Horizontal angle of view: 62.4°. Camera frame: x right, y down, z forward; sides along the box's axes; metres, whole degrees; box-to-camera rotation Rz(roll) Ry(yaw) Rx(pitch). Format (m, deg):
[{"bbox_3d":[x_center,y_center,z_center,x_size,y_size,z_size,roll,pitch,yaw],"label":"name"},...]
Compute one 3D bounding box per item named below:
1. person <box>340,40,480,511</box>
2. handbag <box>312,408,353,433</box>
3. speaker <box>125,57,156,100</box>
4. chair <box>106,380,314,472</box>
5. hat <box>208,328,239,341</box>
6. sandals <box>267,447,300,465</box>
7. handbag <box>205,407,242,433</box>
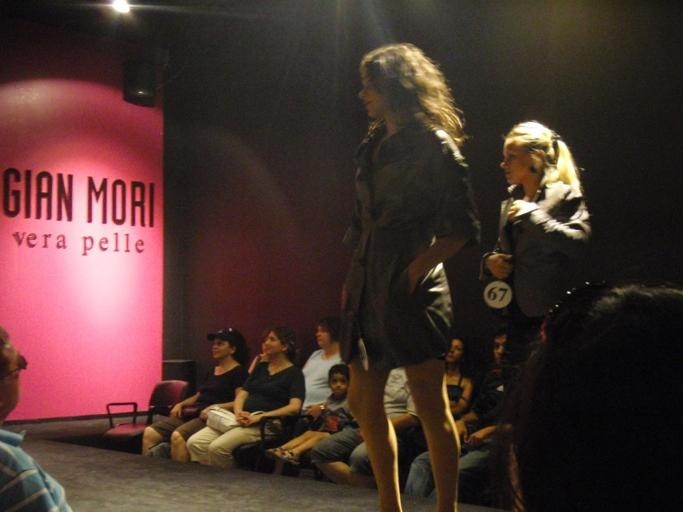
[{"bbox_3d":[0.220,0.047,1.840,0.441,1.504,0.324,-1,-11,3],"label":"person"},{"bbox_3d":[-0.043,1.076,3.694,0.160,0.076,0.193,0,-3,-6],"label":"handbag"},{"bbox_3d":[-2.629,-2.258,7.348,0.402,0.536,0.303,4,-11,-20],"label":"speaker"},{"bbox_3d":[-0.949,1.074,4.146,0.910,0.998,0.731,25,-15,-22],"label":"chair"},{"bbox_3d":[-0.997,0.680,4.909,0.291,0.093,0.177,9,-13,-39],"label":"hat"},{"bbox_3d":[-0.363,1.245,3.541,0.159,0.052,0.092,27,-14,-32],"label":"sandals"},{"bbox_3d":[-0.830,1.136,3.964,0.226,0.075,0.140,8,4,35],"label":"handbag"}]
